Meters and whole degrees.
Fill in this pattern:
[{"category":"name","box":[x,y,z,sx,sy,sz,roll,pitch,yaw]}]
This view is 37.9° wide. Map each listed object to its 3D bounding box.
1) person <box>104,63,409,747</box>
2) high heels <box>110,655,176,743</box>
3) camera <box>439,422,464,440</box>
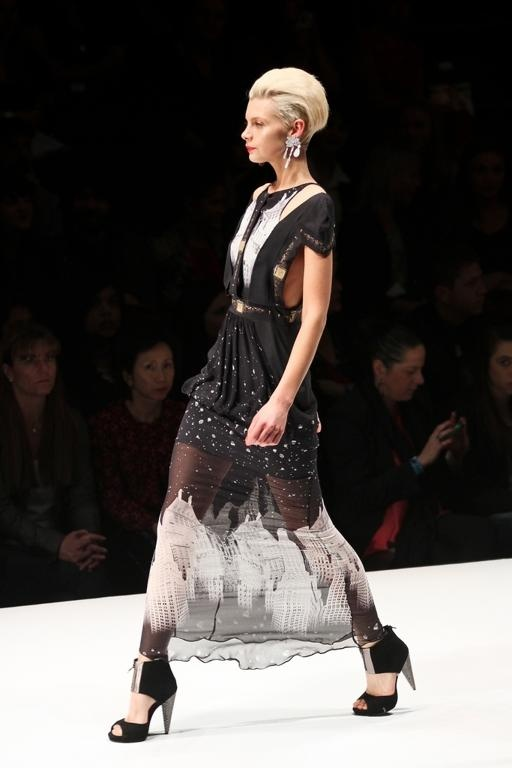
[{"category":"person","box":[0.004,0.060,1.832,0.561,1.516,0.463,-4,-7,26]},{"category":"high heels","box":[-0.260,0.714,1.700,0.145,0.185,0.122,1,-7,-15]},{"category":"camera","box":[0.990,0.240,3.826,0.122,0.053,0.084,-35,37,-9]}]
